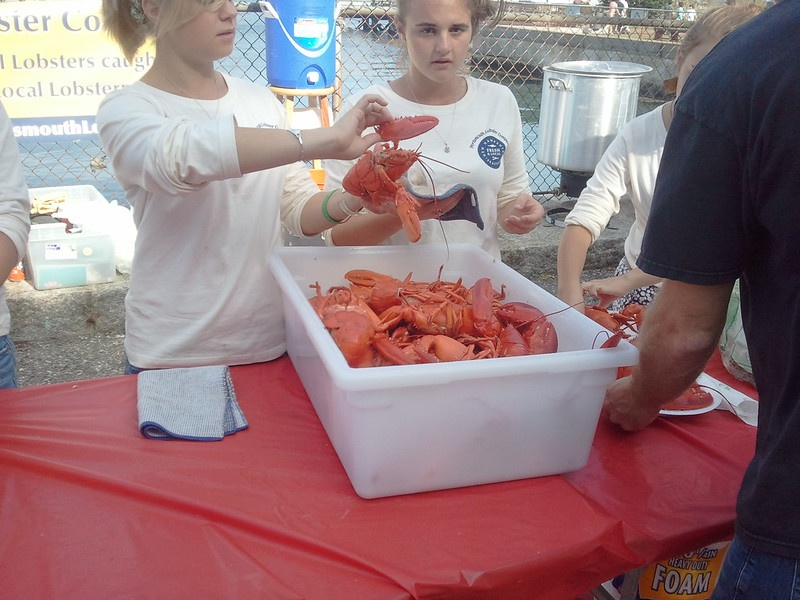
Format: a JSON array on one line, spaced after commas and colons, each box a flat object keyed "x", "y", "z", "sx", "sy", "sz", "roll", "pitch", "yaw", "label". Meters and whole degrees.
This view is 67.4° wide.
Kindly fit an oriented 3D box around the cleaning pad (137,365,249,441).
[{"x": -0.639, "y": 0.318, "z": 1.829, "sx": 0.232, "sy": 0.087, "sz": 0.244, "roll": 0, "pitch": 33, "yaw": -24, "label": "cleaning pad"}]

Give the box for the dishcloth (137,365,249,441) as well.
[{"x": -0.638, "y": 0.324, "z": 1.819, "sx": 0.232, "sy": 0.087, "sz": 0.244, "roll": 0, "pitch": 33, "yaw": -24, "label": "dishcloth"}]
